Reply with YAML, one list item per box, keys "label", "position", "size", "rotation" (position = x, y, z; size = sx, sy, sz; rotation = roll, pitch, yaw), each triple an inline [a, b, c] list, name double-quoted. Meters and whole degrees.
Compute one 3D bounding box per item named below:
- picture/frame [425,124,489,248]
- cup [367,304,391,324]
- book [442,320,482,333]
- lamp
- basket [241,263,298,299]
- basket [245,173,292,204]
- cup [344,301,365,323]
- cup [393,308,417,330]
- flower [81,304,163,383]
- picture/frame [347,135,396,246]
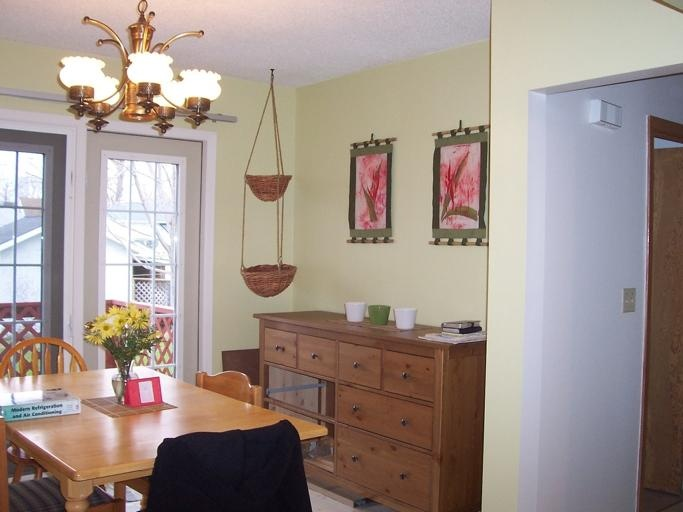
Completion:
- label: "picture/frame"
  position: [0.788, -0.483, 3.880]
  size: [0.148, 0.848, 0.524]
  rotation: [-4, 10, -34]
- label: "cup"
  position: [0.259, 0.404, 4.008]
  size: [0.130, 0.095, 0.127]
  rotation: [-1, 1, 0]
- label: "book"
  position: [0.723, 0.426, 3.447]
  size: [0.138, 0.044, 0.112]
  rotation: [2, -4, -41]
- label: "lamp"
  position: [-1.099, -1.040, 2.993]
  size: [0.665, 0.804, 1.449]
  rotation: [-3, 8, -26]
- label: "basket"
  position: [-0.613, 0.176, 4.619]
  size: [0.406, 0.248, 0.434]
  rotation: [-2, 8, -25]
- label: "basket"
  position: [-0.591, -0.550, 4.618]
  size: [0.414, 0.208, 0.173]
  rotation: [6, 9, 30]
- label: "cup"
  position: [0.090, 0.406, 4.145]
  size: [0.132, 0.103, 0.123]
  rotation: [0, -1, 0]
- label: "cup"
  position: [0.425, 0.420, 3.870]
  size: [0.136, 0.105, 0.132]
  rotation: [-1, -1, 0]
- label: "flower"
  position: [-1.086, 0.454, 2.884]
  size: [0.355, 0.391, 0.304]
  rotation: [5, -19, -21]
- label: "picture/frame"
  position: [0.236, -0.517, 4.454]
  size: [0.143, 0.840, 0.509]
  rotation: [-5, 10, -34]
